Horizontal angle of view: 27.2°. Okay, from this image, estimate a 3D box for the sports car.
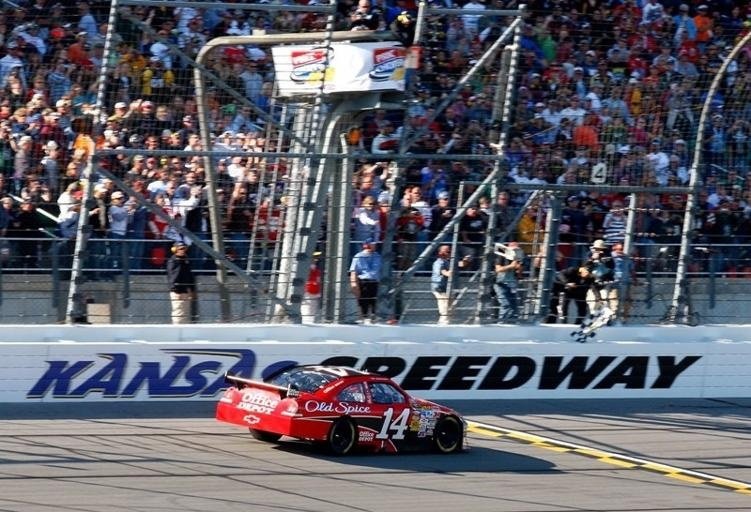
[{"bbox_3d":[-0.318,1.814,18.513,2.773,0.571,1.724,9,2,-45],"label":"sports car"}]
